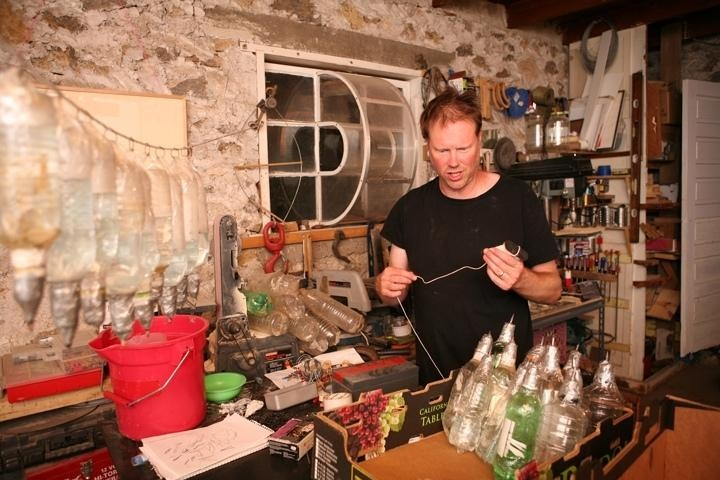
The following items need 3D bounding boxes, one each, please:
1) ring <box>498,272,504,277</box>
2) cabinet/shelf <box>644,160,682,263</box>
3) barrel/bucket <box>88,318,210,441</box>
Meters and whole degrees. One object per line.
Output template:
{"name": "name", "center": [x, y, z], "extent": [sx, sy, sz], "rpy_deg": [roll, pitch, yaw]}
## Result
{"name": "ring", "center": [0.632, 0.152, 2.287], "extent": [0.024, 0.023, 0.007], "rpy_deg": [32, 17, 31]}
{"name": "cabinet/shelf", "center": [3.166, -0.316, 5.340], "extent": [0.339, 1.025, 1.018], "rpy_deg": [-3, 4, 31]}
{"name": "barrel/bucket", "center": [-0.929, 0.575, 2.494], "extent": [0.590, 0.495, 0.545], "rpy_deg": [0, 10, 0]}
